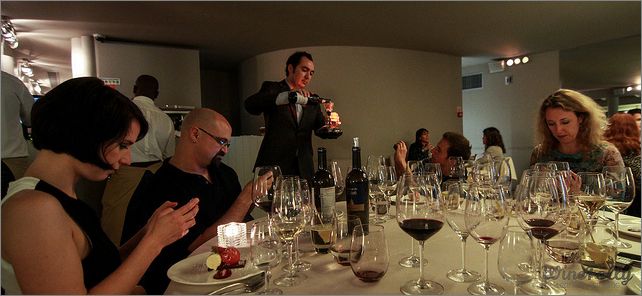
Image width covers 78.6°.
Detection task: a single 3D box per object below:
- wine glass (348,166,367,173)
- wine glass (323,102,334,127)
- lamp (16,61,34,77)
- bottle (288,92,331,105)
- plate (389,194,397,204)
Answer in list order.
[{"bbox_3d":[0.455,0.249,5.091,0.147,0.119,0.135,0,-5,-1],"label":"wine glass"},{"bbox_3d":[0.132,-0.579,6.389,0.143,0.416,0.332,-1,2,3],"label":"wine glass"},{"bbox_3d":[-7.858,-2.112,10.332,0.318,0.391,0.168,-16,20,-33],"label":"lamp"},{"bbox_3d":[-0.219,-0.810,6.240,0.649,0.192,0.238,-2,2,-25],"label":"bottle"},{"bbox_3d":[1.025,0.688,5.551,0.145,0.032,0.139,1,29,11],"label":"plate"}]
